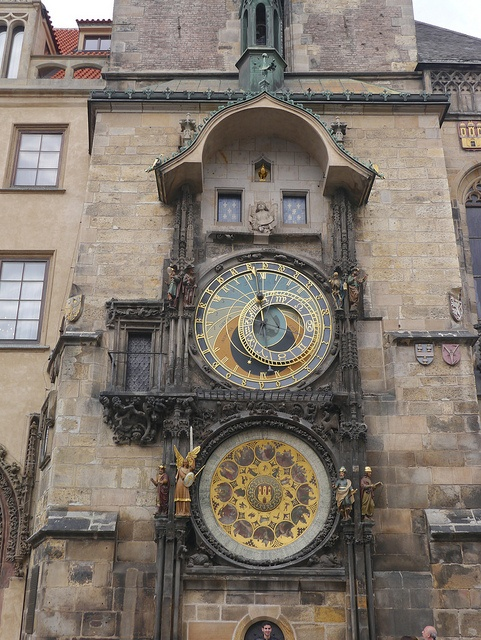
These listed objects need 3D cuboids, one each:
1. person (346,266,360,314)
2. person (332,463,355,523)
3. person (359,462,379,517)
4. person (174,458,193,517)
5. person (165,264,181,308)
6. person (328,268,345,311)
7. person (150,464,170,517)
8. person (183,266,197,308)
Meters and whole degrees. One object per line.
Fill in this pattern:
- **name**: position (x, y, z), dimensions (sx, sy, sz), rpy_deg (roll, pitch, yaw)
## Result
- **person**: position (1.998, -0.553, 14.642), dimensions (0.224, 0.891, 0.505), rpy_deg (-9, -27, 15)
- **person**: position (1.625, 2.750, 12.930), dimensions (0.286, 0.786, 0.344), rpy_deg (11, -29, -22)
- **person**: position (1.998, 2.708, 12.873), dimensions (0.297, 0.776, 0.597), rpy_deg (-4, -26, 6)
- **person**: position (-0.878, 2.616, 12.827), dimensions (0.297, 0.918, 0.302), rpy_deg (10, -29, -22)
- **person**: position (-1.184, -0.601, 14.507), dimensions (0.227, 0.827, 0.297), rpy_deg (2, -27, -6)
- **person**: position (1.703, -0.495, 14.601), dimensions (0.228, 0.709, 0.350), rpy_deg (2, -26, -6)
- **person**: position (-1.256, 2.630, 12.783), dimensions (0.255, 0.779, 0.267), rpy_deg (-5, -27, 7)
- **person**: position (-0.925, -0.571, 14.576), dimensions (0.236, 0.790, 0.410), rpy_deg (-1, -26, -1)
